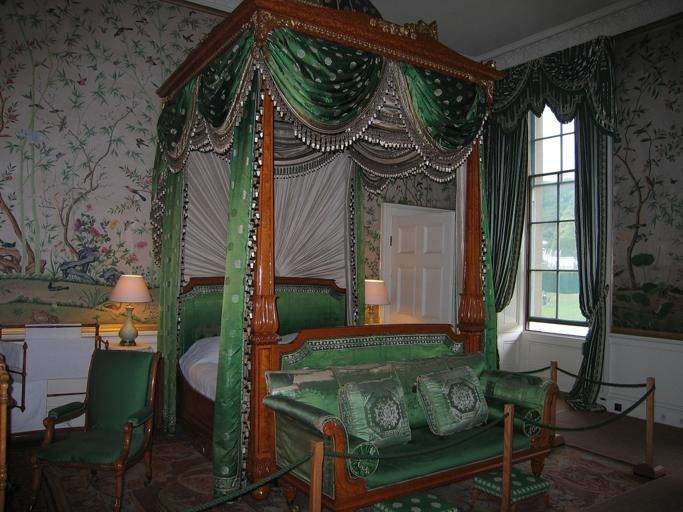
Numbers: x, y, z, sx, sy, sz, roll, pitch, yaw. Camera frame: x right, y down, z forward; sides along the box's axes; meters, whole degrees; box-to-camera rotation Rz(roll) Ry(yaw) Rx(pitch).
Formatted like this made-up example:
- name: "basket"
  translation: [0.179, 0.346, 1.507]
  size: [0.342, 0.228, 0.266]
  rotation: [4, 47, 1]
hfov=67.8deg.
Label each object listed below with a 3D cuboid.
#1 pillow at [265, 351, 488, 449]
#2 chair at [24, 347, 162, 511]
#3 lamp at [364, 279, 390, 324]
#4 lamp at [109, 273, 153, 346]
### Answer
- name: "pillow"
  translation: [0.158, 1.073, 3.949]
  size: [1.573, 0.561, 0.616]
  rotation: [-1, 7, -33]
- name: "chair"
  translation: [-1.830, 1.336, 4.299]
  size: [0.829, 1.334, 1.113]
  rotation: [-1, -5, 9]
- name: "lamp"
  translation: [0.390, 0.619, 6.318]
  size: [0.302, 0.532, 0.317]
  rotation: [1, -6, 37]
- name: "lamp"
  translation: [-2.309, 0.589, 5.563]
  size: [0.396, 0.723, 0.521]
  rotation: [2, -1, -26]
